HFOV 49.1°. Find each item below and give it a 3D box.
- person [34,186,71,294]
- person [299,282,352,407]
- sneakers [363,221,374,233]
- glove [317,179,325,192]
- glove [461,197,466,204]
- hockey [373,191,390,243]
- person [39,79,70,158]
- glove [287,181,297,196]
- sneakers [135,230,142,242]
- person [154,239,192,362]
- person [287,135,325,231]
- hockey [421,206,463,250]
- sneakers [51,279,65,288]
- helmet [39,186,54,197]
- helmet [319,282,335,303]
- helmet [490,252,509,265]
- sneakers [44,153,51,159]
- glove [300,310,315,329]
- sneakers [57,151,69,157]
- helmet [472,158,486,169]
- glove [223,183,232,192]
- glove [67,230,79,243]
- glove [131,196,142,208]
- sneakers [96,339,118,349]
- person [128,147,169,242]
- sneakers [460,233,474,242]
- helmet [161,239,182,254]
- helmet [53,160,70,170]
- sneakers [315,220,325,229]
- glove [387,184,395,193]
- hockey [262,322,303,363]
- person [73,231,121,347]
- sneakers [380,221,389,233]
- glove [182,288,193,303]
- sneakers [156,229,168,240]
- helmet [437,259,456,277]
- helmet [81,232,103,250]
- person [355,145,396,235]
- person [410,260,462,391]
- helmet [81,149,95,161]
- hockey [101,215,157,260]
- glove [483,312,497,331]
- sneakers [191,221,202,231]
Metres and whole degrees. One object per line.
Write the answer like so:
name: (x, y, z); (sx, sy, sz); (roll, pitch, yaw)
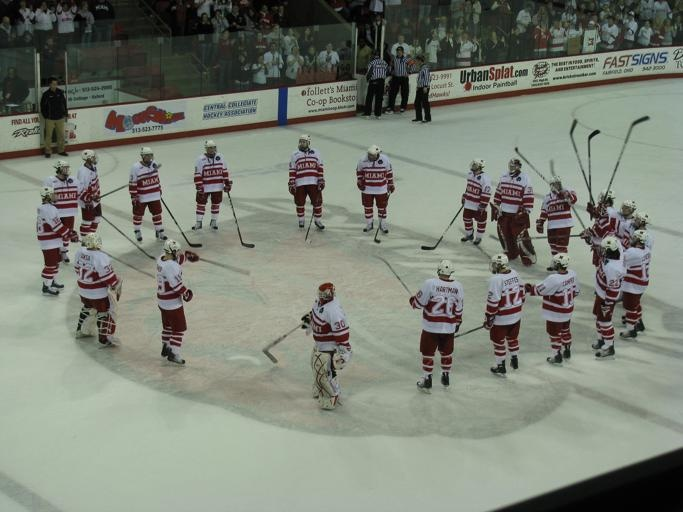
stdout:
person: (-5.444, -0.256, 13.985); (0.637, 2.085, 0.343); (4, 16, 17)
person: (-0.258, 1.430, 11.413); (0.535, 1.723, 1.110); (-7, 33, -24)
sneakers: (0.648, -0.718, 17.624); (0.123, 0.220, 0.381); (7, 20, 19)
glove: (-0.468, -1.626, 17.072); (0.152, 0.214, 0.086); (-1, 3, 13)
glove: (2.760, -1.233, 16.683); (0.146, 0.199, 0.155); (0, 9, 2)
hockey: (0.936, -0.913, 17.273); (0.332, 1.138, 0.208); (15, 19, 12)
person: (-8.253, -3.968, 21.345); (0.748, 2.222, 0.675); (-12, 19, -35)
glove: (-1.126, -1.535, 16.993); (0.102, 0.260, 0.197); (-3, 9, -22)
sneakers: (-4.575, -0.466, 16.735); (0.104, 0.127, 0.304); (-11, 21, -21)
person: (-2.713, 0.712, 12.063); (0.563, 2.064, 0.745); (-5, 16, -14)
person: (-0.800, -1.676, 17.154); (0.778, 2.221, 0.506); (-1, 16, -1)
hockey: (2.393, -0.637, 17.687); (1.428, 0.248, 0.154); (-46, -4, -11)
sneakers: (-5.527, 0.539, 14.474); (0.330, 0.207, 0.108); (4, 27, -18)
helmet: (-5.470, -1.205, 13.775); (0.225, 0.199, 0.195); (-9, 20, -18)
helmet: (-0.195, 0.509, 10.608); (0.221, 0.272, 0.269); (-7, -1, -18)
helmet: (2.501, 0.027, 11.663); (0.199, 0.212, 0.268); (-3, -14, 41)
sneakers: (-8.491, -2.887, 21.453); (0.180, 0.121, 0.311); (-1, -1, -9)
glove: (-0.507, 0.918, 11.231); (0.244, 0.118, 0.328); (2, 42, 6)
sneakers: (-8.110, -2.973, 21.645); (0.318, 0.132, 0.107); (7, 42, 7)
helmet: (3.030, -2.036, 16.227); (0.269, 0.203, 0.201); (27, 2, -25)
glove: (-2.617, -1.602, 17.219); (0.146, 0.217, 0.321); (3, 16, 12)
glove: (-5.088, -0.383, 14.083); (0.155, 0.193, 0.171); (-11, 39, -15)
glove: (-4.570, -1.200, 16.370); (0.245, 0.272, 0.168); (10, 19, 34)
sneakers: (-3.967, 1.446, 12.595); (0.276, 0.185, 0.147); (-7, 38, -14)
person: (-4.375, -1.412, 16.677); (0.713, 2.087, 0.938); (-5, 16, -16)
sneakers: (2.903, -0.440, 17.102); (0.266, 0.165, 0.139); (3, 22, 7)
helmet: (-2.697, -0.139, 11.834); (0.323, 0.309, 0.258); (-1, 24, -8)
helmet: (-5.575, -1.814, 14.786); (0.223, 0.148, 0.326); (-8, 17, -27)
sneakers: (-0.512, -0.748, 17.560); (0.117, 0.111, 0.267); (-24, 39, -24)
glove: (1.129, -1.549, 17.032); (0.156, 0.200, 0.135); (-4, 5, 7)
hockey: (-1.074, 1.379, 12.597); (0.562, 0.582, 1.143); (-2, 15, -6)
person: (-4.068, 0.552, 12.413); (0.575, 1.968, 0.724); (-12, 19, -36)
sneakers: (0.989, -0.737, 17.589); (0.126, 0.154, 0.367); (-8, 29, -14)
glove: (-2.472, 0.616, 11.950); (0.244, 0.239, 0.061); (17, 26, -5)
sneakers: (-4.084, -0.474, 16.796); (0.132, 0.187, 0.386); (-11, 14, -30)
helmet: (1.572, 0.176, 11.244); (0.218, 0.260, 0.306); (1, 15, 5)
helmet: (-4.067, -0.244, 12.083); (0.252, 0.258, 0.412); (-8, 17, -24)
person: (0.798, -1.590, 17.394); (0.804, 2.077, 1.315); (0, 16, 2)
person: (1.452, 1.067, 11.364); (0.748, 2.042, 0.393); (1, 16, 5)
helmet: (-5.320, -2.104, 15.593); (0.284, 0.194, 0.233); (13, 21, 41)
hockey: (-4.759, -0.387, 16.585); (0.086, 0.188, 1.554); (-21, 53, -34)
glove: (2.311, 0.999, 11.675); (0.184, 0.245, 0.092); (1, 6, -9)
sneakers: (-3.395, -0.748, 17.518); (0.236, 0.218, 0.172); (10, 27, -3)
